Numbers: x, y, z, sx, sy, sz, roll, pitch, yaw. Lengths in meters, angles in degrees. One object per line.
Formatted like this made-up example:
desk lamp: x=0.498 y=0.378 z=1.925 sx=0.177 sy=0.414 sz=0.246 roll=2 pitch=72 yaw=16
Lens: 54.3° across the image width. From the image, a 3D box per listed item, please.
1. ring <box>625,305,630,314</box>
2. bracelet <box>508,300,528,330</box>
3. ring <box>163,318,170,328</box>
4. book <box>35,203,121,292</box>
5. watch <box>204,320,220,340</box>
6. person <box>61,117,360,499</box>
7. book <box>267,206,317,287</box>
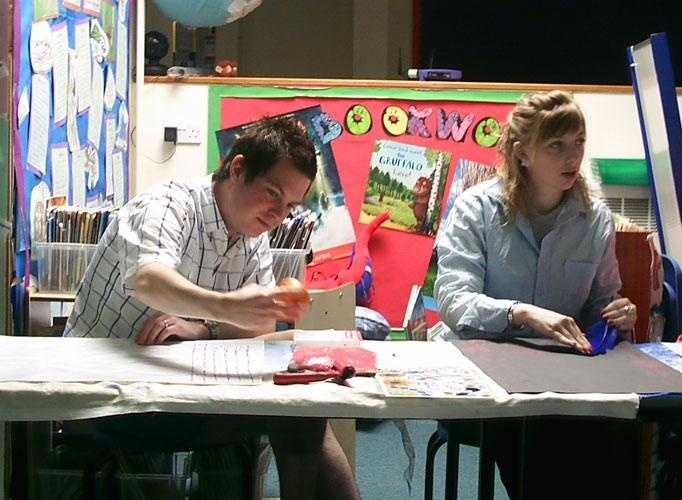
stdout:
ring: x=0.946 y=0.203 z=2.216 sx=0.019 sy=0.021 sz=0.010 roll=2 pitch=-3 yaw=-28
bracelet: x=0.590 y=0.227 z=2.228 sx=0.054 sy=0.083 sz=0.029 roll=3 pitch=-4 yaw=-23
ring: x=-0.540 y=0.228 z=2.064 sx=0.013 sy=0.023 sz=0.020 roll=2 pitch=-7 yaw=-20
book: x=-1.147 y=-0.008 z=2.986 sx=0.311 sy=0.442 sz=0.332 roll=1 pitch=-1 yaw=14
watch: x=-0.424 y=0.265 z=2.207 sx=0.041 sy=0.071 sz=0.063 roll=-2 pitch=13 yaw=-19
person: x=-0.346 y=0.438 z=2.572 sx=1.173 sy=1.687 sz=0.755 roll=-14 pitch=-24 yaw=29
book: x=-0.224 y=-0.018 z=2.986 sx=0.270 sy=0.135 sz=0.382 roll=-1 pitch=-27 yaw=-4
